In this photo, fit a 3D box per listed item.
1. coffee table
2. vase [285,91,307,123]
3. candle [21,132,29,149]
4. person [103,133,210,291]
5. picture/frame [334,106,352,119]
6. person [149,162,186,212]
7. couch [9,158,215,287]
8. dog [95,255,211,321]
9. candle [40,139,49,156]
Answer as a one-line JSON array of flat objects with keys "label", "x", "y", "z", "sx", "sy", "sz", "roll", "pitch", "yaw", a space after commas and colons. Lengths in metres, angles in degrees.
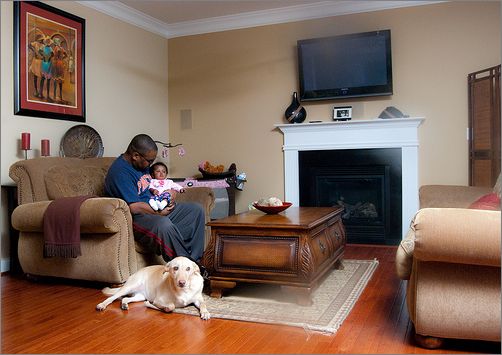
[{"label": "coffee table", "x": 0.197, "y": 0.596, "z": 3.076, "sx": 0.662, "sy": 0.468, "sz": 1.051, "roll": -2, "pitch": -1, "yaw": 20}, {"label": "vase", "x": 0.646, "y": -1.023, "z": 5.230, "sx": 0.302, "sy": 0.451, "sz": 0.206, "roll": 0, "pitch": 6, "yaw": 13}, {"label": "candle", "x": -2.461, "y": -0.403, "z": 3.953, "sx": 0.091, "sy": 0.182, "sz": 0.226, "roll": -5, "pitch": 6, "yaw": -32}, {"label": "person", "x": -0.898, "y": 0.324, "z": 3.460, "sx": 0.821, "sy": 1.374, "sz": 0.725, "roll": 2, "pitch": 19, "yaw": 7}, {"label": "picture/frame", "x": 1.277, "y": -0.903, "z": 5.049, "sx": 0.293, "sy": 0.262, "sz": 0.162, "roll": -1, "pitch": -3, "yaw": 15}, {"label": "person", "x": -0.936, "y": 0.119, "z": 3.748, "sx": 0.444, "sy": 0.246, "sz": 0.776, "roll": -1, "pitch": 31, "yaw": -11}, {"label": "couch", "x": -1.455, "y": 0.386, "z": 3.597, "sx": 1.217, "sy": 1.148, "sz": 1.638, "roll": -3, "pitch": -3, "yaw": 26}, {"label": "dog", "x": -0.706, "y": 0.762, "z": 2.799, "sx": 0.599, "sy": 0.311, "sz": 0.534, "roll": 12, "pitch": 6, "yaw": 41}, {"label": "candle", "x": -2.267, "y": -0.337, "z": 3.989, "sx": 0.078, "sy": 0.173, "sz": 0.058, "roll": -5, "pitch": 7, "yaw": -36}]
